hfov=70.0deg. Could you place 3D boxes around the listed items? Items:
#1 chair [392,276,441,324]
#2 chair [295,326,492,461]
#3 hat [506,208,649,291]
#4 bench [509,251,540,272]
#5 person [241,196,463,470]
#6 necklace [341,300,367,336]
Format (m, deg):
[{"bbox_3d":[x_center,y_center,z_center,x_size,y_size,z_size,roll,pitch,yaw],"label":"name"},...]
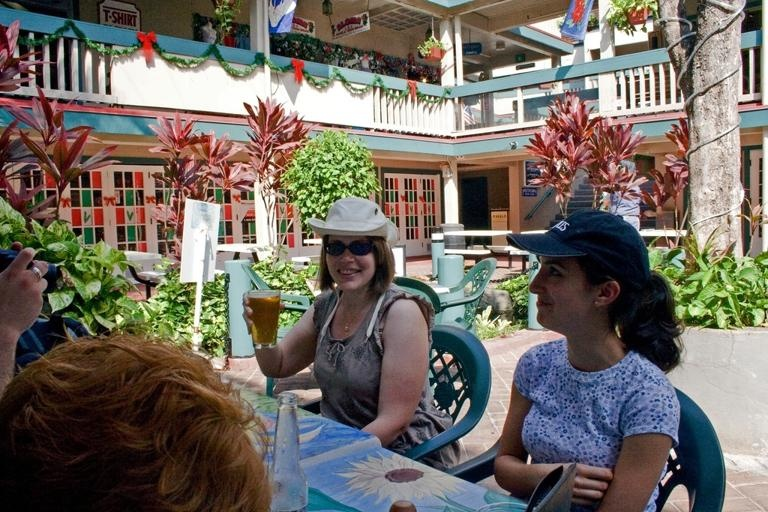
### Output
[{"bbox_3d":[0.319,0.326,4.571,0.394,0.468,0.364,-12,16,-39],"label":"chair"},{"bbox_3d":[0.311,0.620,2.722,0.841,0.522,0.603,-1,7,-43],"label":"chair"},{"bbox_3d":[0.666,-0.002,1.926,0.396,0.146,0.248,17,3,4],"label":"hat"},{"bbox_3d":[2.434,0.116,9.701,0.309,0.226,0.474,0,1,-29],"label":"bench"},{"bbox_3d":[-0.182,0.387,2.599,1.041,1.199,0.843,1,-6,-1],"label":"person"},{"bbox_3d":[-0.136,0.296,2.554,0.112,0.148,0.038,-2,-23,34],"label":"necklace"}]
